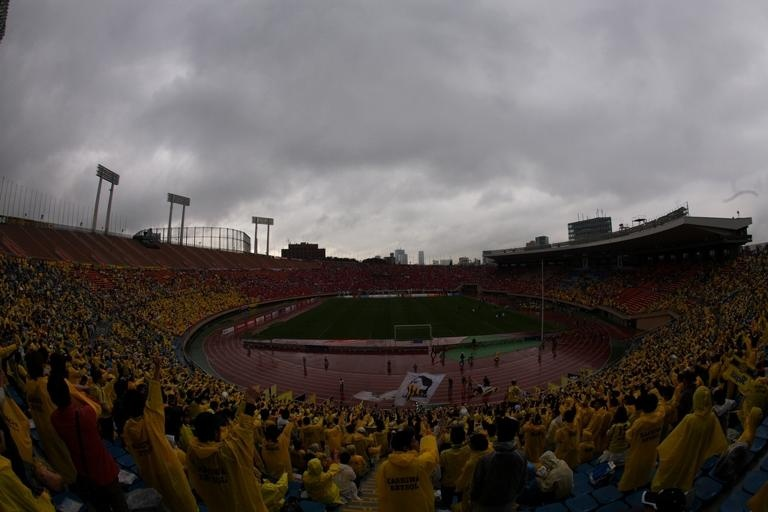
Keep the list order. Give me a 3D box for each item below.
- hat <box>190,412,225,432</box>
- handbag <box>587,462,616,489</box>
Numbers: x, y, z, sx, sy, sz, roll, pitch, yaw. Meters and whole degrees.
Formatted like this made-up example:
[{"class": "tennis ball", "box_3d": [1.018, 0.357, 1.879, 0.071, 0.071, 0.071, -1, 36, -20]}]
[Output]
[{"class": "hat", "box_3d": [-4.074, 3.850, 12.212, 0.673, 0.504, 0.392, -1, -2, -18]}, {"class": "handbag", "box_3d": [5.827, 5.825, 13.973, 0.681, 0.286, 0.533, -23, -2, -27]}]
